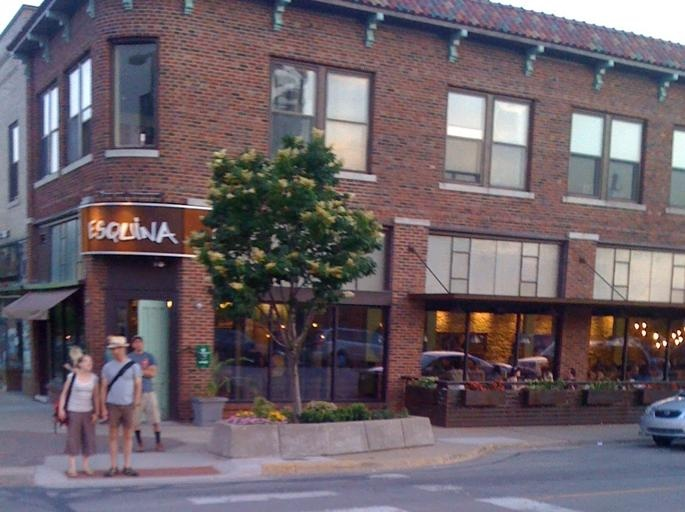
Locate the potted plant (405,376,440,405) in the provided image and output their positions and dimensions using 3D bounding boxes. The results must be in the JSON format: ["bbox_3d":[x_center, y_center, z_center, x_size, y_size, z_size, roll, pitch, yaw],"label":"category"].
[{"bbox_3d":[2.380,3.743,35.763,0.722,0.803,1.294,1,-3,-36],"label":"potted plant"}]

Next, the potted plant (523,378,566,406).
[{"bbox_3d":[5.743,3.921,36.092,1.420,0.660,0.555,-1,0,-17],"label":"potted plant"}]

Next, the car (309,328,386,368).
[{"bbox_3d":[0.302,2.477,36.618,1.244,0.944,2.860,23,10,42],"label":"car"}]

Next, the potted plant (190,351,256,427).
[{"bbox_3d":[-3.429,3.766,33.909,0.953,1.395,0.946,11,-22,-27],"label":"potted plant"}]

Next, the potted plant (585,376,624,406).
[{"bbox_3d":[7.542,4.005,37.133,1.407,0.509,0.708,0,-1,-15],"label":"potted plant"}]
